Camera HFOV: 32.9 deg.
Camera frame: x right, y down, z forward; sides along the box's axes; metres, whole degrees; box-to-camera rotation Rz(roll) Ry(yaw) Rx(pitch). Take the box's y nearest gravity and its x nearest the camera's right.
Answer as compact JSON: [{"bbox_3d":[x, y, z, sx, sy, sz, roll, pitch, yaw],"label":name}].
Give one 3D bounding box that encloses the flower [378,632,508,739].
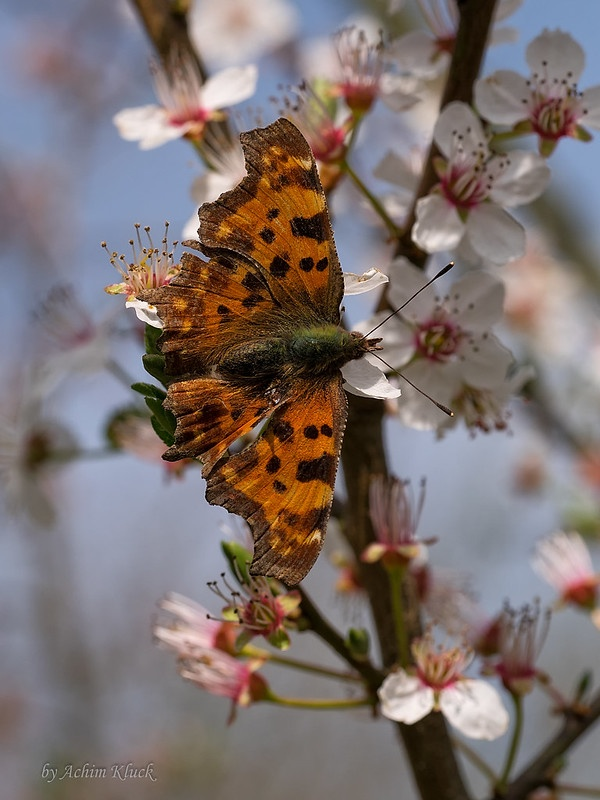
[{"bbox_3d":[0.291,0.550,1.949,0.237,0.063,0.180,14,61,11],"label":"flower"}]
